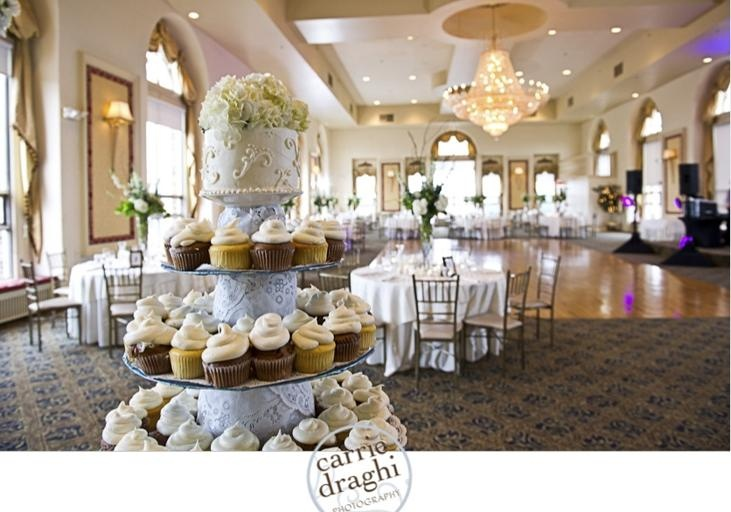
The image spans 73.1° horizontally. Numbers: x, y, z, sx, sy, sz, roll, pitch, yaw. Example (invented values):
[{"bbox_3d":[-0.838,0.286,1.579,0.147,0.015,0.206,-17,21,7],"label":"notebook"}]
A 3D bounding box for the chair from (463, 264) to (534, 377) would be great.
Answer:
[{"bbox_3d":[1.285,0.639,5.133,0.527,0.936,0.522,2,2,14],"label":"chair"}]

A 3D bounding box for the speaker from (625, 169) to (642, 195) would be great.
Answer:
[{"bbox_3d":[6.301,-1.683,11.590,0.252,0.587,0.381,11,17,40],"label":"speaker"}]

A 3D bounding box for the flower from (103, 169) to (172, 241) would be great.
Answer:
[{"bbox_3d":[-2.745,-0.580,6.091,0.481,0.579,0.486,-2,10,24],"label":"flower"}]

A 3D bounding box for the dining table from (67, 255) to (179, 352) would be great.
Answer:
[{"bbox_3d":[-2.953,0.505,6.263,1.284,1.033,1.365,0,0,-4],"label":"dining table"}]

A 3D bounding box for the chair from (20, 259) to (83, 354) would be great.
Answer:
[{"bbox_3d":[-3.687,0.572,5.785,0.570,0.973,0.534,-5,2,-42],"label":"chair"}]

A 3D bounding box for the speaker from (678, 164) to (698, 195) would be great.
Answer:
[{"bbox_3d":[6.836,-1.622,10.528,0.342,0.671,0.366,-15,17,-12],"label":"speaker"}]

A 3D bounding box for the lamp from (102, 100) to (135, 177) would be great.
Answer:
[{"bbox_3d":[-3.724,-1.744,7.299,0.417,1.052,0.448,8,5,-10],"label":"lamp"}]

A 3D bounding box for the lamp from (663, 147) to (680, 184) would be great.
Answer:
[{"bbox_3d":[8.795,-2.611,14.179,0.301,0.889,0.916,1,14,4],"label":"lamp"}]
